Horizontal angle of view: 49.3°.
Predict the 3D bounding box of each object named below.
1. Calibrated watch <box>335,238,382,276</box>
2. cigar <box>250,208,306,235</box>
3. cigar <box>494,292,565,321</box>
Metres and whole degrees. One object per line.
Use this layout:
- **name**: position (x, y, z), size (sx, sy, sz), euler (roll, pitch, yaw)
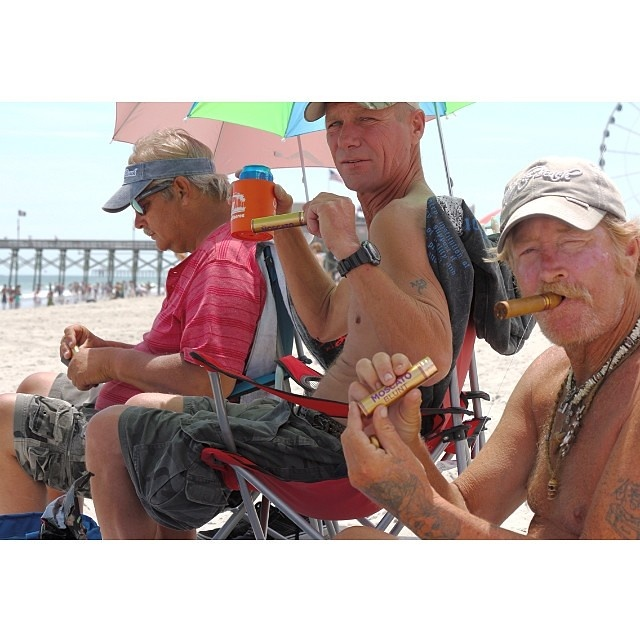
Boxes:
- **Calibrated watch**: position (0.121, -0.168, 2.060), size (0.146, 0.069, 0.132), euler (-20, -11, 16)
- **cigar**: position (-0.134, -0.309, 2.234), size (0.215, 0.049, 0.065), euler (-5, -15, 40)
- **cigar**: position (0.547, -0.039, 1.730), size (0.219, 0.052, 0.052), euler (-5, 44, -30)
